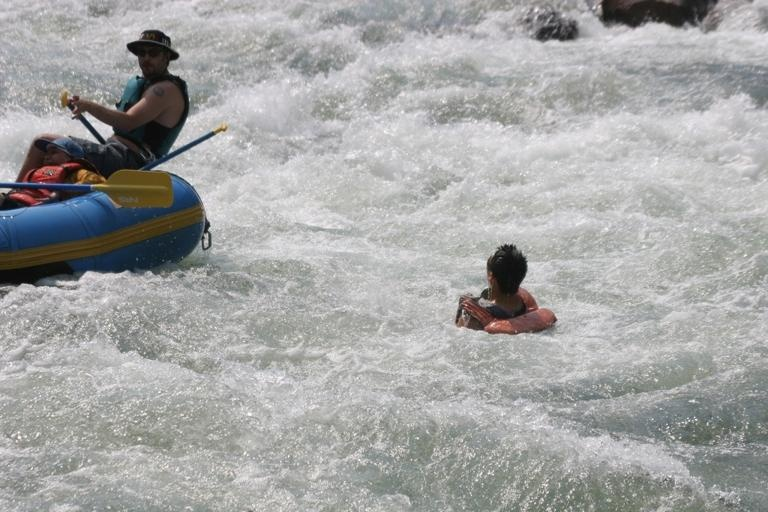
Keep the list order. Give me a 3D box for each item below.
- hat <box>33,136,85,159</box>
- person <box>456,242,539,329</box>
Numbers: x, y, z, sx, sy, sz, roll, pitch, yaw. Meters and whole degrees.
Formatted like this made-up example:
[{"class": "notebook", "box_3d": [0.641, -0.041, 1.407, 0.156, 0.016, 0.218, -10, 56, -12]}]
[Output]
[{"class": "hat", "box_3d": [-3.439, -1.143, 10.677, 0.422, 0.134, 0.253, 18, 0, -16]}, {"class": "person", "box_3d": [1.118, 0.383, 10.155, 1.119, 0.839, 0.554, -2, 6, -44]}]
